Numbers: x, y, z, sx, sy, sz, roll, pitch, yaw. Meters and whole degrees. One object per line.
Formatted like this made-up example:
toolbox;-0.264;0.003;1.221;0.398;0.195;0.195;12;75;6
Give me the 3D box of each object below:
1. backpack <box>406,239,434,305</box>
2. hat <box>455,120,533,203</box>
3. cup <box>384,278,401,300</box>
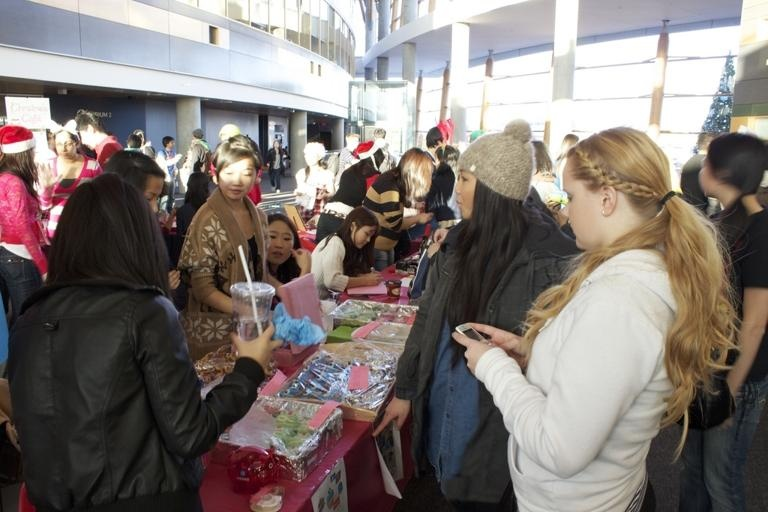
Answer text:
backpack;0.232;0.096;3.188;0.124;0.356;0.255;15;-2;3
hat;0.446;-0.397;2.074;0.314;0.277;0.294;26;11;-1
cup;0.070;0.234;3.659;0.117;0.111;0.106;3;3;27
